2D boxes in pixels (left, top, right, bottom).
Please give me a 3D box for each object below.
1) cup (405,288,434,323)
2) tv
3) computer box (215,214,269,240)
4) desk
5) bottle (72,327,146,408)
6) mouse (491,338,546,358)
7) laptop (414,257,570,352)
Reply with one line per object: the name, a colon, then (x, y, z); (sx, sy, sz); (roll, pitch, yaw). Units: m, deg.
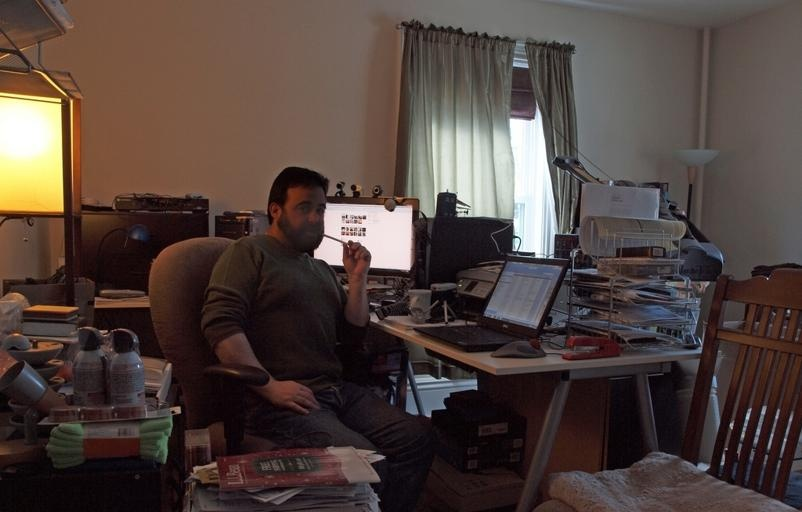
cup: (0.093, 0.256, 3.099); (0.150, 0.152, 0.143); (-1, -3, 0)
tv: (-0.187, -0.059, 3.276); (0.550, 0.416, 0.063); (4, -3, 18)
computer box: (-1.072, -0.201, 4.063); (0.250, 0.194, 0.353); (4, 1, -17)
desk: (0.620, 0.525, 2.788); (0.779, 0.668, 1.403); (-3, 4, -21)
bottle: (-0.934, 0.355, 1.962); (0.240, 0.238, 0.119); (1, 7, 8)
mouse: (0.501, 0.383, 2.569); (0.146, 0.048, 0.101); (0, -2, -3)
laptop: (0.457, 0.212, 2.838); (0.511, 0.349, 0.482); (3, -1, -21)
